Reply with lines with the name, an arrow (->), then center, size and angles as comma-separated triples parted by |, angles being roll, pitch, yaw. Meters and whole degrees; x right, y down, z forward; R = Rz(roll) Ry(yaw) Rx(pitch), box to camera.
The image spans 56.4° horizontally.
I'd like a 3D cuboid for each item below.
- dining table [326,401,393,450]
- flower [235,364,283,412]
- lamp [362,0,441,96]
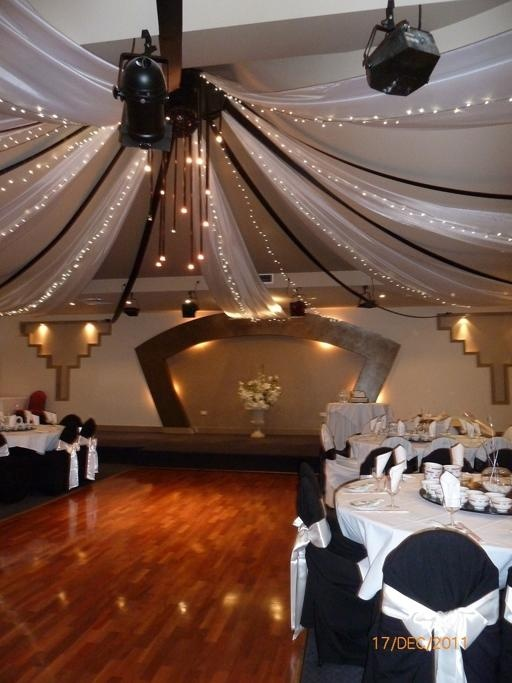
dining table -> 1.686, 1.334, 8.023 | 0.982, 0.876, 0.957 | 1, -12, 1
flower -> 0.078, 1.010, 10.594 | 0.849, 0.769, 0.915 | 4, 9, -12
lamp -> 0.653, -1.285, 2.145 | 0.270, 0.245, 0.337 | 4, 3, -9
